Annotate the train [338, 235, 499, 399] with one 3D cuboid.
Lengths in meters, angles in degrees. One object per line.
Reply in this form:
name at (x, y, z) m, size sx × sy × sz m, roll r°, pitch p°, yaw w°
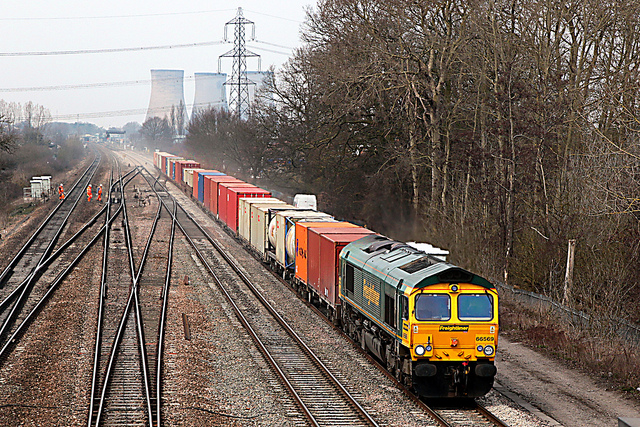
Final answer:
train at (3.403, 3.757, 25.339) m, size 3.218 × 4.712 × 10.277 m, roll 2°, pitch 3°, yaw -13°
